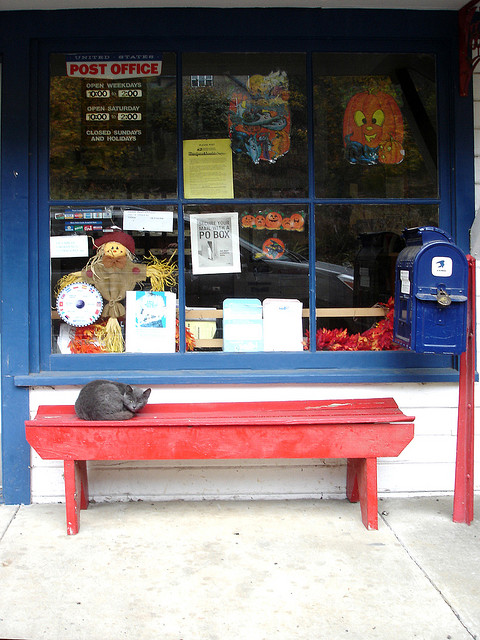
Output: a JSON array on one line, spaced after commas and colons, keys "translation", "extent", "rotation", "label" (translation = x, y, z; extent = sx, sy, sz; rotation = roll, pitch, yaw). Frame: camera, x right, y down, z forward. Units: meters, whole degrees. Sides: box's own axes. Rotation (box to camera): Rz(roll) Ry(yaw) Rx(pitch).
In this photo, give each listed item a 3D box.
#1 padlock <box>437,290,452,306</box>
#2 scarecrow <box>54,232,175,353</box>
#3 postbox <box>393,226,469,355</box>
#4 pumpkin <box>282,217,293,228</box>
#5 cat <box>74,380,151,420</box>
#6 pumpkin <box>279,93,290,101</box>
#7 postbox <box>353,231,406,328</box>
[{"translation": [1.046, -0.113, 3.385], "extent": [0.074, 0.073, 0.048], "rotation": [-1, 9, -7], "label": "padlock"}, {"translation": [-0.767, -0.172, 4.023], "extent": [0.725, 0.698, 0.218], "rotation": [1, 3, -6], "label": "scarecrow"}, {"translation": [1.031, -0.161, 3.541], "extent": [0.331, 0.643, 0.355], "rotation": [-2, 9, -13], "label": "postbox"}, {"translation": [0.287, -0.582, 4.056], "extent": [0.061, 0.059, 0.058], "rotation": [20, -33, 2], "label": "pumpkin"}, {"translation": [-0.675, 0.428, 3.527], "extent": [0.380, 0.183, 0.140], "rotation": [-1, 8, -7], "label": "cat"}, {"translation": [0.274, -1.331, 3.989], "extent": [0.068, 0.048, 0.036], "rotation": [-2, -22, 9], "label": "pumpkin"}, {"translation": [0.799, -0.257, 4.127], "extent": [0.298, 0.554, 0.345], "rotation": [2, 11, 1], "label": "postbox"}]
